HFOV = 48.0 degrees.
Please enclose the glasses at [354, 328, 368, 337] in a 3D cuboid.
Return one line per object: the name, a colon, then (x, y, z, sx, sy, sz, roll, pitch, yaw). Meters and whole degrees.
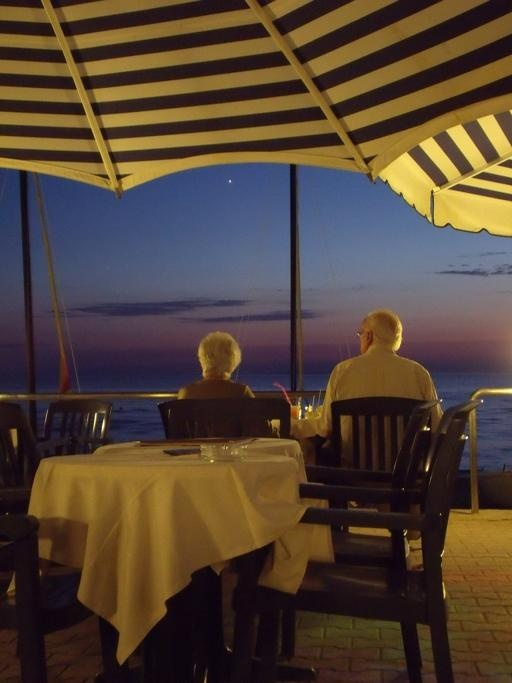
glasses: (0.576, -0.045, 3.120, 0.046, 0.014, 0.046, 25, 4, 43)
